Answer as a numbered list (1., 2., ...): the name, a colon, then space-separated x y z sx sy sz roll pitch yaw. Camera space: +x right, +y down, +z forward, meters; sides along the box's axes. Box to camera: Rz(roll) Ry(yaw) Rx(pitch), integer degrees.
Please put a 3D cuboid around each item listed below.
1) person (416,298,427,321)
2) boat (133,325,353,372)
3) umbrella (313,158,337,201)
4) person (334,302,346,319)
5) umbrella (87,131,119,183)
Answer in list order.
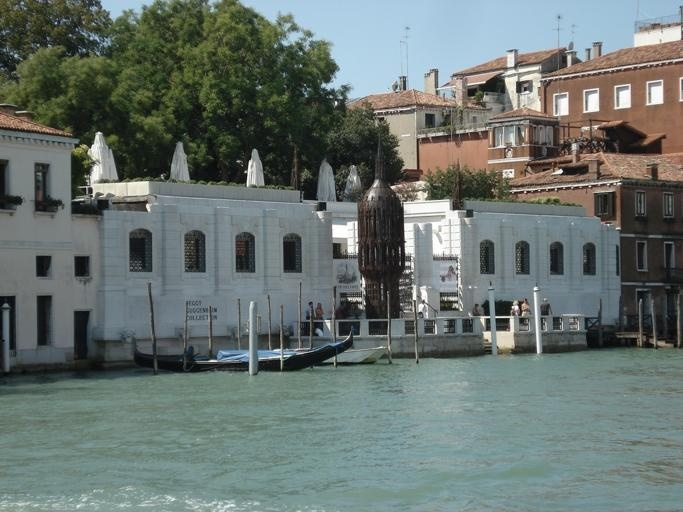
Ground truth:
1. person: 4.834 3.104 91.046 0.586 1.194 2.095 -3 -5 3
2. boat: -5.283 5.550 81.537 11.249 1.543 1.589 -2 -5 -12
3. umbrella: -1.089 -4.958 98.776 1.174 3.073 2.591 -2 -5 -2
4. person: -0.093 3.177 88.389 0.561 0.946 0.745 -2 -5 -1
5. umbrella: -14.110 -5.783 88.460 1.484 3.355 2.586 -2 -5 -10
